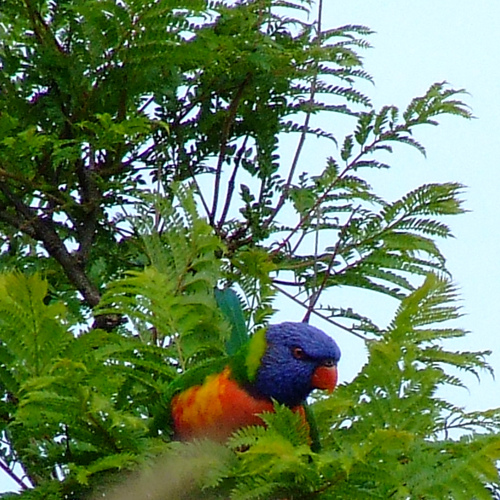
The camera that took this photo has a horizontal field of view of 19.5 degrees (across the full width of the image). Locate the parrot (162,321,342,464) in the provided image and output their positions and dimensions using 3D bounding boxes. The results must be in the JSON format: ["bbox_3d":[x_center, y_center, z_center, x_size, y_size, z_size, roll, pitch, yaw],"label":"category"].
[{"bbox_3d":[0.039,0.303,3.514,0.444,0.361,0.327,17,2,13],"label":"parrot"}]
